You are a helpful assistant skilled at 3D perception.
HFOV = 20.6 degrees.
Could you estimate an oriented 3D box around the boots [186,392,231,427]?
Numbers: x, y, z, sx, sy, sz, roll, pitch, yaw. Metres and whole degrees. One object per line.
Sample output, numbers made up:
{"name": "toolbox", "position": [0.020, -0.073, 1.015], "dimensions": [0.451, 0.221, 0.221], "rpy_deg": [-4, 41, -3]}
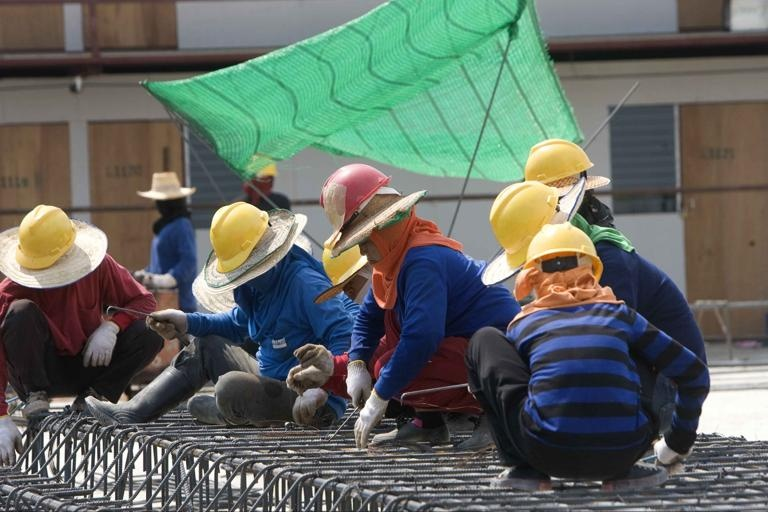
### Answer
{"name": "boots", "position": [-1.580, 1.400, 19.125], "dimensions": [0.361, 0.129, 0.254], "rpy_deg": [10, -42, 6]}

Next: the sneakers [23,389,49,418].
{"name": "sneakers", "position": [-3.229, 1.392, 19.560], "dimensions": [0.241, 0.266, 0.366], "rpy_deg": [2, -2, -10]}

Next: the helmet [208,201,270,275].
{"name": "helmet", "position": [-1.368, -0.179, 19.092], "dimensions": [0.493, 0.611, 0.402], "rpy_deg": [22, -17, 50]}

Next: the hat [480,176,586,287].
{"name": "hat", "position": [1.142, -0.251, 18.359], "dimensions": [0.422, 1.025, 0.703], "rpy_deg": [50, 5, -19]}

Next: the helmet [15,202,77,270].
{"name": "helmet", "position": [-3.149, -0.172, 19.636], "dimensions": [0.482, 0.612, 0.330], "rpy_deg": [28, -31, 24]}

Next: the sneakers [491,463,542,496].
{"name": "sneakers", "position": [1.157, 1.890, 17.679], "dimensions": [0.503, 0.181, 0.173], "rpy_deg": [3, -1, 3]}

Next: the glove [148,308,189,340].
{"name": "glove", "position": [-1.965, 0.614, 19.316], "dimensions": [0.361, 0.142, 0.245], "rpy_deg": [10, -41, -2]}

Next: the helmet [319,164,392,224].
{"name": "helmet", "position": [-0.296, -0.601, 18.704], "dimensions": [0.508, 0.615, 0.485], "rpy_deg": [52, 3, -7]}

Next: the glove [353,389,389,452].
{"name": "glove", "position": [-0.128, 1.417, 18.310], "dimensions": [0.316, 0.501, 0.147], "rpy_deg": [16, 20, -11]}

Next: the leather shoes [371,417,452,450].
{"name": "leather shoes", "position": [0.243, 1.555, 18.688], "dimensions": [0.732, 0.242, 0.246], "rpy_deg": [1, -5, -10]}

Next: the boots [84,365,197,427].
{"name": "boots", "position": [-2.047, 1.296, 19.253], "dimensions": [1.293, 0.512, 0.394], "rpy_deg": [-8, -11, -8]}

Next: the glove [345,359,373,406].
{"name": "glove", "position": [-0.262, 1.119, 18.525], "dimensions": [0.135, 0.352, 0.290], "rpy_deg": [-6, -8, 32]}

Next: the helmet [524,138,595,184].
{"name": "helmet", "position": [1.501, -0.892, 19.138], "dimensions": [0.638, 0.272, 0.482], "rpy_deg": [-15, 13, 8]}
